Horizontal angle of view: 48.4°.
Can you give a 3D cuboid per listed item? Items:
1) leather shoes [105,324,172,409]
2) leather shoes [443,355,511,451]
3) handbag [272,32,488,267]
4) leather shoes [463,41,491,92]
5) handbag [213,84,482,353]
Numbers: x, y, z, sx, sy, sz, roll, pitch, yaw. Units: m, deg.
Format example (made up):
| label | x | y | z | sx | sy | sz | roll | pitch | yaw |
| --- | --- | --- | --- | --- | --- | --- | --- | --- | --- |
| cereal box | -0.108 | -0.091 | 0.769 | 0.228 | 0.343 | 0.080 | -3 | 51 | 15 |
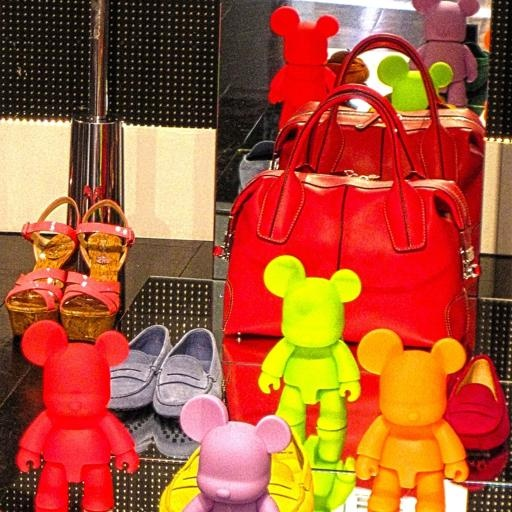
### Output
| label | x | y | z | sx | sy | sz | roll | pitch | yaw |
| --- | --- | --- | --- | --- | --- | --- | --- | --- | --- |
| leather shoes | -0.189 | 0.174 | 0.927 | 0.053 | 0.046 | 0.146 | 4 | 23 | 11 |
| leather shoes | 0.295 | 0.202 | 0.756 | 0.076 | 0.049 | 0.148 | 3 | 43 | 22 |
| handbag | 0.268 | -0.243 | 1.273 | 0.500 | 0.600 | 0.225 | 2 | 18 | 9 |
| leather shoes | 0.596 | -0.509 | 1.543 | 0.081 | 0.120 | 0.032 | 8 | 10 | 43 |
| handbag | 0.211 | -0.084 | 1.147 | 0.534 | 0.549 | 0.186 | 4 | 14 | 14 |
